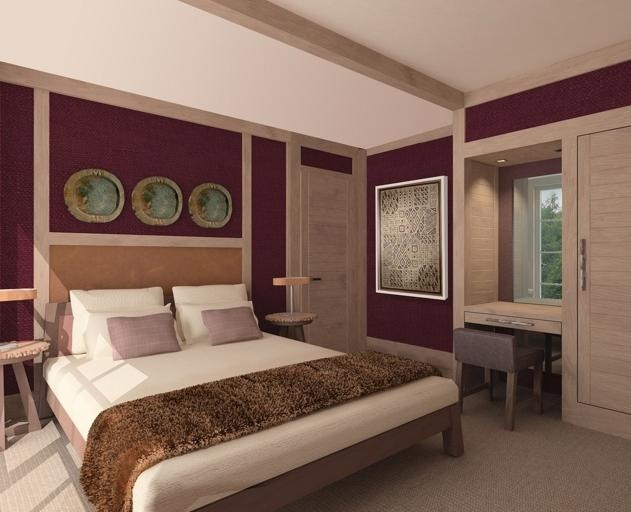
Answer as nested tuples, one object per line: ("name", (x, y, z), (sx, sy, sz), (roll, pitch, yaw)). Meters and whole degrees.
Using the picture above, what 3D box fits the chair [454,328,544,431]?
("chair", (1.692, 1.071, 4.141), (0.646, 0.812, 0.641), (-1, 2, 40))

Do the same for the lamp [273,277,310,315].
("lamp", (-0.315, 0.475, 5.421), (0.246, 0.514, 0.442), (0, -1, 44))
